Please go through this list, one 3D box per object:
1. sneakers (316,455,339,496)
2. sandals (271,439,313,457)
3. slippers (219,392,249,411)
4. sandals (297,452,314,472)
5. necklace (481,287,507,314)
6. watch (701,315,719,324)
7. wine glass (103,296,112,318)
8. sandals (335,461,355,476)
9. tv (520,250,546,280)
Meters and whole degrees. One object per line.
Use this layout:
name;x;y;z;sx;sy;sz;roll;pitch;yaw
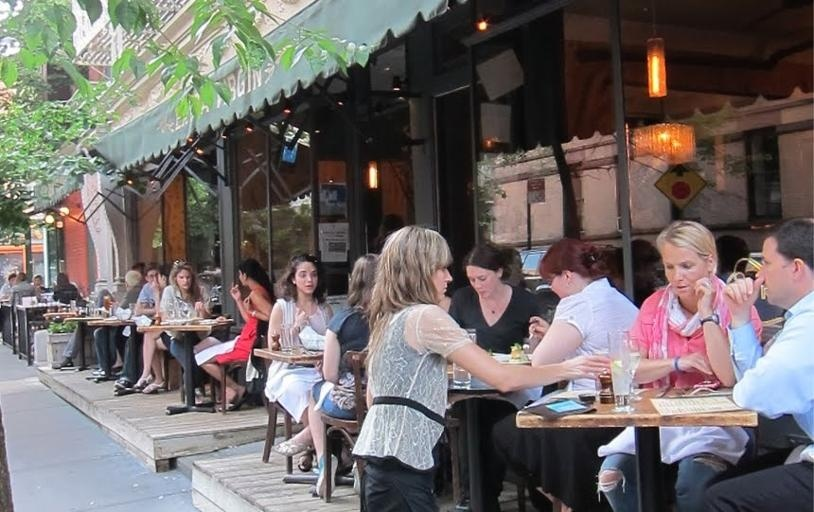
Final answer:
sneakers;-0.785;2.154;6.916;0.189;0.437;0.150;17;2;39
sandals;-1.178;1.984;7.412;0.327;0.115;0.180;3;-7;-9
slippers;-2.425;2.034;10.053;0.291;0.147;0.628;-5;3;-13
sandals;-1.058;2.159;7.522;0.107;0.113;0.273;-1;5;2
necklace;0.865;0.417;6.933;0.229;0.253;0.149;-9;0;11
watch;2.283;0.457;5.347;0.092;0.053;0.091;-5;-2;-29
wine glass;-5.341;0.909;12.764;0.117;0.350;0.232;1;-1;-22
sandals;-0.608;2.121;7.276;0.174;0.194;0.229;-1;-8;3
tv;1.430;0.058;8.036;0.197;0.166;0.326;-4;8;-13
